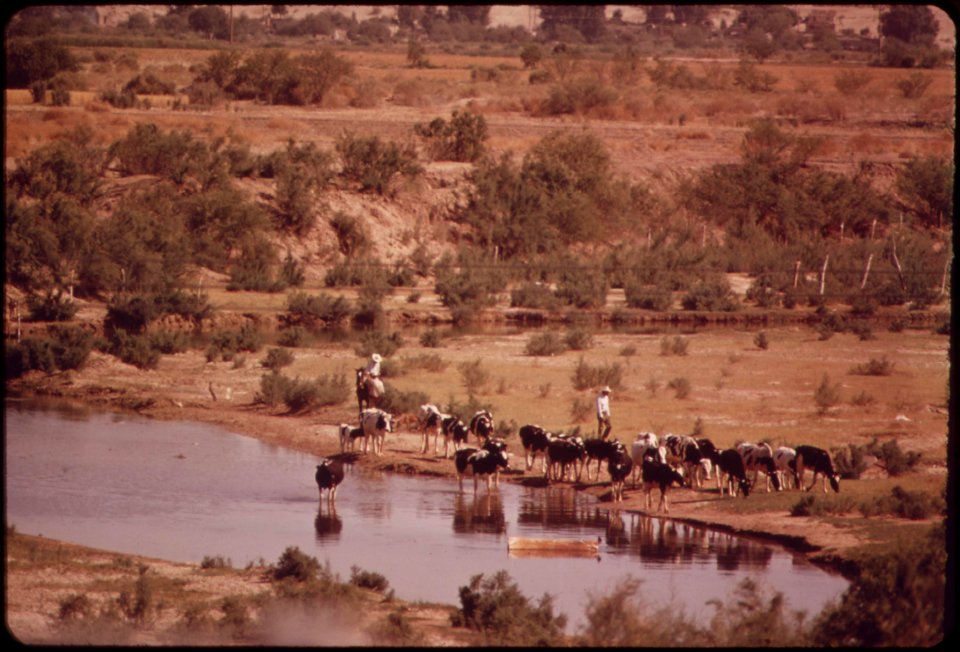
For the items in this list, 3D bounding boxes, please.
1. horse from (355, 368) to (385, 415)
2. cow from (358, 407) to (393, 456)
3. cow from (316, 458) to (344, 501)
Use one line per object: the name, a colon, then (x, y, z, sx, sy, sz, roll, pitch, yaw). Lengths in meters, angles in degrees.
horse: (-2.061, 1.112, 39.785, 0.510, 0.779, 0.420, -1, 5, -4)
cow: (-1.902, 1.877, 39.117, 0.579, 0.822, 0.778, -1, 5, -7)
cow: (-2.703, 2.686, 38.116, 0.506, 0.735, 0.589, -1, 5, -5)
